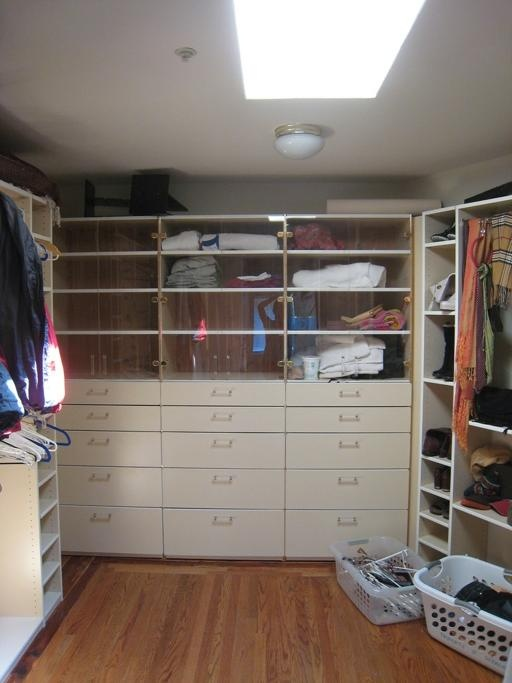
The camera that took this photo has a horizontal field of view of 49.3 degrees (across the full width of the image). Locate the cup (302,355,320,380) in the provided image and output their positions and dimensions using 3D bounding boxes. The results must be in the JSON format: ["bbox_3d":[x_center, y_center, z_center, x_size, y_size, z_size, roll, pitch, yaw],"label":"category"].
[{"bbox_3d":[0.299,0.145,3.013,0.129,0.144,0.109,3,4,16],"label":"cup"}]

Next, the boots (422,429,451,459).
[{"bbox_3d":[0.912,0.518,2.809,0.070,0.090,0.237,2,1,30],"label":"boots"}]

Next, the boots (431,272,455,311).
[{"bbox_3d":[0.928,-0.237,2.716,0.092,0.181,0.206,0,7,-2],"label":"boots"}]

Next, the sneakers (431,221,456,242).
[{"bbox_3d":[0.917,-0.529,2.743,0.084,0.083,0.214,0,7,4],"label":"sneakers"}]

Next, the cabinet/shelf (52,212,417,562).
[{"bbox_3d":[-0.031,0.264,2.997,1.943,1.763,0.611,0,-1,0],"label":"cabinet/shelf"}]
